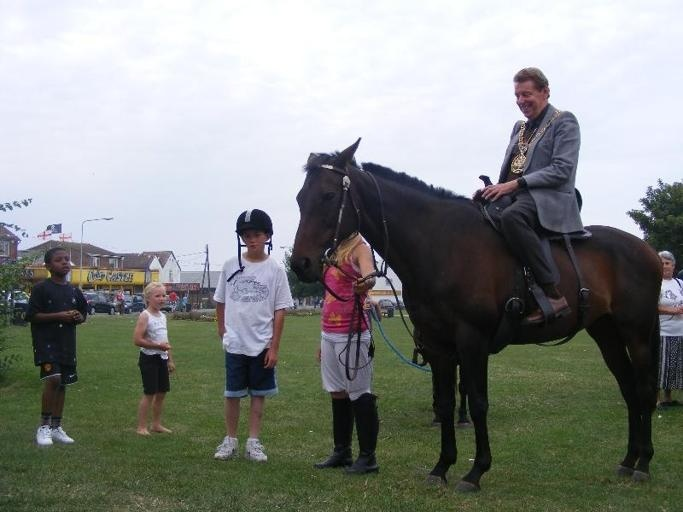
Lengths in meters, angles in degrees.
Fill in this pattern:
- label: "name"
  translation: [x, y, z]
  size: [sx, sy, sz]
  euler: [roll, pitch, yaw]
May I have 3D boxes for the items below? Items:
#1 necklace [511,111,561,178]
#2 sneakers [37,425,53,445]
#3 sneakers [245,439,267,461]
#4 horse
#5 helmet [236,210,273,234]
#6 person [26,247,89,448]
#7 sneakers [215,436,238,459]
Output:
- label: "necklace"
  translation: [2.209, -1.201, 6.755]
  size: [0.167, 0.728, 0.429]
  euler: [19, 10, -21]
- label: "sneakers"
  translation: [-3.453, 2.056, 6.885]
  size: [0.122, 0.159, 0.355]
  euler: [9, -5, -33]
- label: "sneakers"
  translation: [-0.936, 2.131, 6.581]
  size: [0.132, 0.160, 0.335]
  euler: [3, -7, -33]
- label: "horse"
  translation: [1.646, 0.772, 6.387]
  size: [4.480, 3.162, 1.334]
  euler: [6, -10, -15]
- label: "helmet"
  translation: [-0.968, -0.376, 6.701]
  size: [0.384, 0.278, 0.273]
  euler: [1, -1, -14]
- label: "person"
  translation: [-3.461, 1.027, 7.257]
  size: [0.660, 1.746, 0.966]
  euler: [2, -1, -24]
- label: "sneakers"
  translation: [-1.280, 2.106, 6.538]
  size: [0.152, 0.185, 0.287]
  euler: [-5, -17, 16]
